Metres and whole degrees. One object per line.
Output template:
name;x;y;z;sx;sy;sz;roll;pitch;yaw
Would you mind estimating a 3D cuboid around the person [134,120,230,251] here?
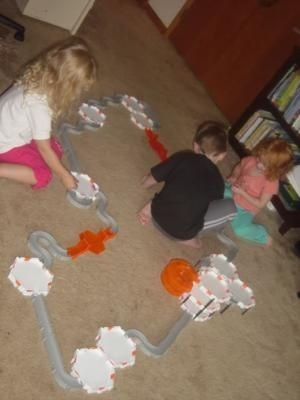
person;0.259;-0.088;2.283;0.546;0.717;0.489;20;17;-10
